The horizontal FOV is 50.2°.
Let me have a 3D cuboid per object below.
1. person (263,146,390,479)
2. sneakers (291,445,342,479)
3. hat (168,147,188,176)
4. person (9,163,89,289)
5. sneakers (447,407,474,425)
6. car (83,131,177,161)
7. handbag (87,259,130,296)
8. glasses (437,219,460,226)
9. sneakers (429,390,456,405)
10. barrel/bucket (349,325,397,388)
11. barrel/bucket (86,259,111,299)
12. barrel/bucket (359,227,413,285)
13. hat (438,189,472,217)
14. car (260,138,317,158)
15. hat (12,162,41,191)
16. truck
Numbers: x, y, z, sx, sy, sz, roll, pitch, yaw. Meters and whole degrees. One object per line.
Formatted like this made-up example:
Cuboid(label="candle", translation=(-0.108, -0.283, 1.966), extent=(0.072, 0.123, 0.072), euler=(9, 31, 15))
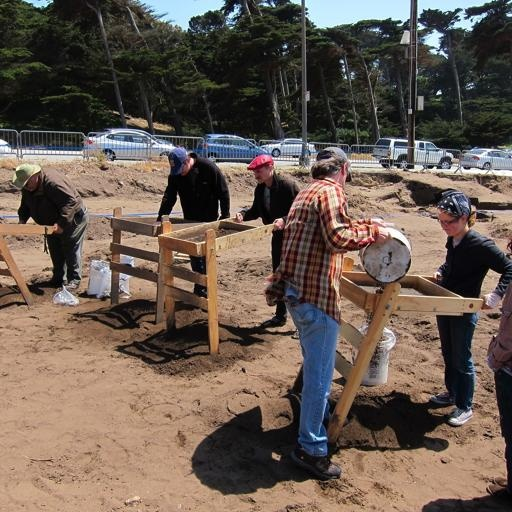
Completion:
Cuboid(label="person", translation=(0.489, 0.405, 3.634), extent=(0.683, 2.095, 0.525), euler=(-7, 14, -19))
Cuboid(label="sneakers", translation=(0.397, 1.382, 3.591), extent=(0.387, 0.148, 0.146), euler=(21, 20, 2))
Cuboid(label="hat", translation=(-0.837, -1.031, 5.974), extent=(0.202, 0.290, 0.268), euler=(-4, 11, -6))
Cuboid(label="person", translation=(-2.542, -0.324, 6.810), extent=(0.758, 1.607, 0.939), euler=(-2, 12, 1))
Cuboid(label="sneakers", translation=(1.615, 1.294, 4.368), extent=(0.269, 0.088, 0.091), euler=(4, -17, -43))
Cuboid(label="car", translation=(-4.705, -4.060, 20.597), extent=(3.278, 0.891, 1.427), euler=(-7, 18, -25))
Cuboid(label="handbag", translation=(-1.885, 0.295, 7.112), extent=(0.604, 0.427, 0.414), euler=(0, 0, -3))
Cuboid(label="glasses", translation=(1.419, -0.254, 4.104), extent=(0.065, 0.048, 0.145), euler=(-11, 13, -39))
Cuboid(label="sneakers", translation=(1.555, 1.198, 4.594), extent=(0.241, 0.079, 0.085), euler=(2, 3, 3))
Cuboid(label="barrel/bucket", translation=(0.921, 0.888, 4.630), extent=(0.424, 0.358, 0.381), euler=(3, -3, 8))
Cuboid(label="barrel/bucket", translation=(-1.995, 0.308, 6.951), extent=(0.320, 0.428, 0.498), euler=(-6, 11, -16))
Cuboid(label="barrel/bucket", translation=(0.819, -0.013, 3.649), extent=(0.389, 0.318, 0.390), euler=(-18, 2, 1))
Cuboid(label="hat", translation=(1.486, -0.412, 4.124), extent=(0.231, 0.218, 0.252), euler=(11, 23, 10))
Cuboid(label="car", translation=(1.540, -5.379, 26.882), extent=(3.439, 0.957, 1.421), euler=(-2, 7, -24))
Cuboid(label="hat", translation=(-2.642, -0.921, 6.352), extent=(0.307, 0.273, 0.251), euler=(-5, 12, -17))
Cuboid(label="truck", translation=(7.546, -4.814, 26.058), extent=(5.196, 1.467, 1.966), euler=(-6, 18, -24))
